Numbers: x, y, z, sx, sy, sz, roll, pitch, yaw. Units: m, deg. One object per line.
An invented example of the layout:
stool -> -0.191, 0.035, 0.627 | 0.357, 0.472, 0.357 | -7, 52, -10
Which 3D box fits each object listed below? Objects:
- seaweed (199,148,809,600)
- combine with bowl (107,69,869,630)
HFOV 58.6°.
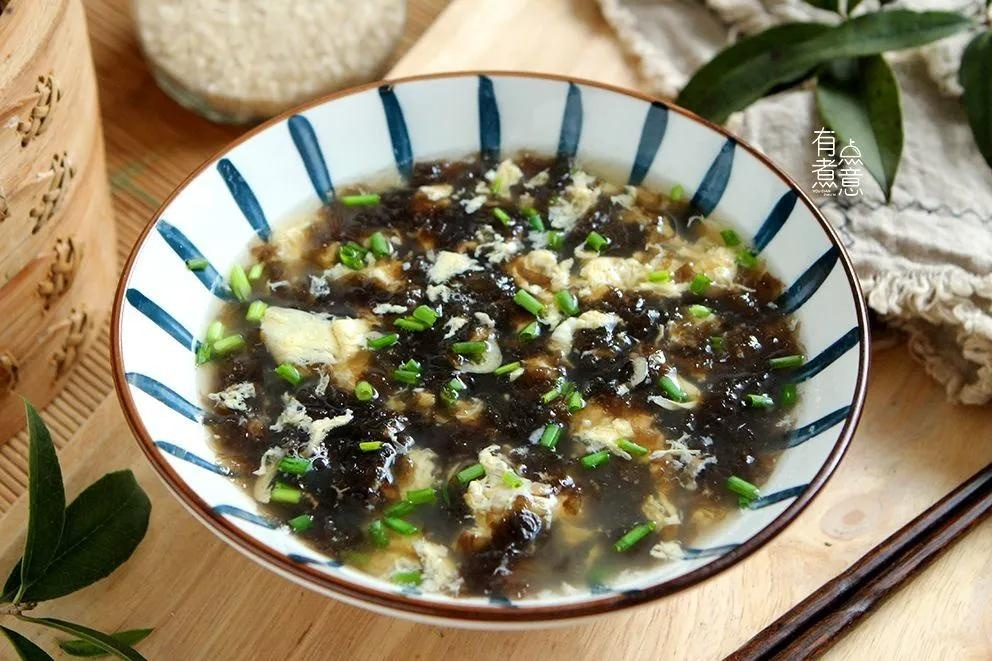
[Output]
seaweed -> 0.072, 0.185, 3.123 | 1.433, 0.389, 1.490 | 2, 51, 1
combine with bowl -> 0.022, -0.197, 2.710 | 1.899, 0.494, 1.945 | -5, 57, -6
